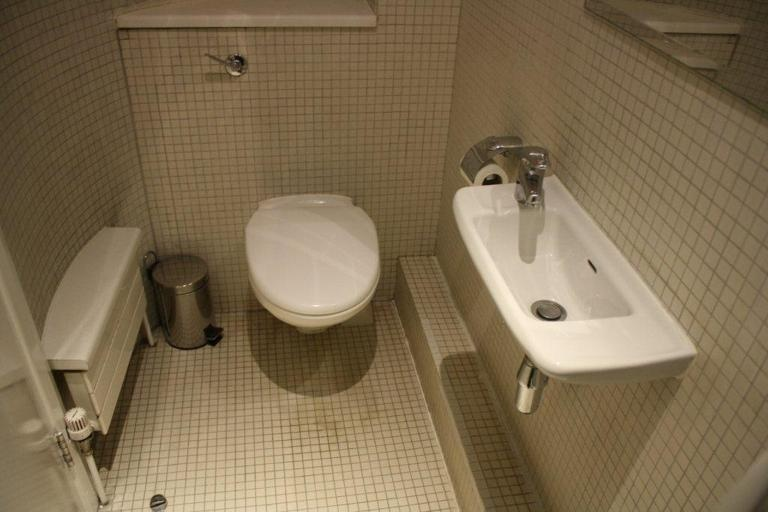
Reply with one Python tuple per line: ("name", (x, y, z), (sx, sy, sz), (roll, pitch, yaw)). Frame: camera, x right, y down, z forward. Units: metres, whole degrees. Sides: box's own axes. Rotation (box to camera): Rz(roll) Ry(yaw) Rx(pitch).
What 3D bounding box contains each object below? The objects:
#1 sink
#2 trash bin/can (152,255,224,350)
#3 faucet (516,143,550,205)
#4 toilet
("sink", (0.431, 0.077, 1.561), (0.399, 0.256, 0.734), (-2, 37, -7))
("trash bin/can", (-0.890, 0.208, 2.580), (0.319, 0.356, 0.215), (11, 37, 5))
("faucet", (0.415, -0.224, 1.619), (0.090, 0.157, 0.159), (-7, 48, 2))
("toilet", (-0.295, 0.045, 2.398), (0.551, 0.341, 0.704), (-7, 46, -15))
